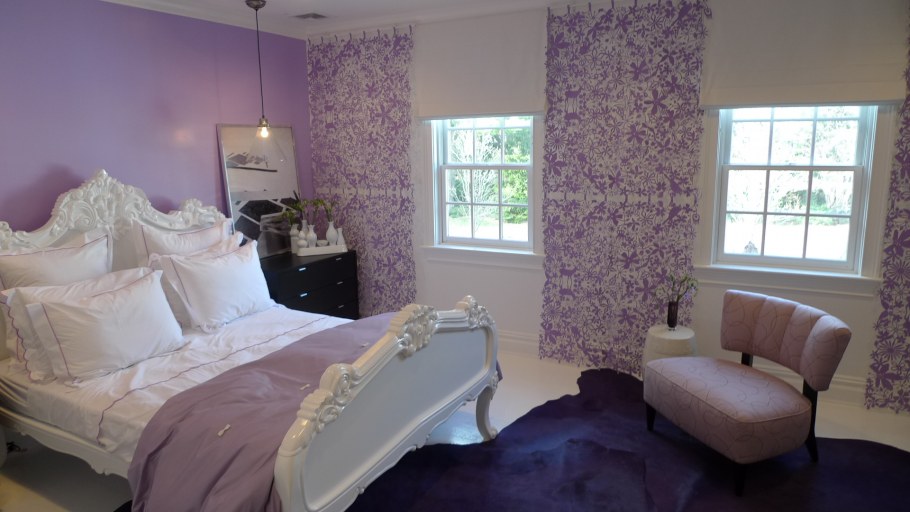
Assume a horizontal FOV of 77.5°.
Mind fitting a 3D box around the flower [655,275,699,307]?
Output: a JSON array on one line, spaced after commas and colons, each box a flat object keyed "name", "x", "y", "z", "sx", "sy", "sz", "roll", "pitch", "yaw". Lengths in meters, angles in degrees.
[{"name": "flower", "x": 2.217, "y": 0.334, "z": 5.658, "sx": 0.332, "sy": 0.280, "sz": 0.109, "roll": 7, "pitch": 10, "yaw": 14}]

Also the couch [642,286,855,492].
[{"name": "couch", "x": 2.501, "y": 1.060, "z": 5.247, "sx": 1.680, "sy": 1.546, "sz": 1.699, "roll": -5, "pitch": 9, "yaw": -19}]

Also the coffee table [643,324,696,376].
[{"name": "coffee table", "x": 2.064, "y": 0.841, "z": 5.447, "sx": 0.483, "sy": 0.423, "sz": 0.470, "roll": 2, "pitch": 9, "yaw": 14}]
